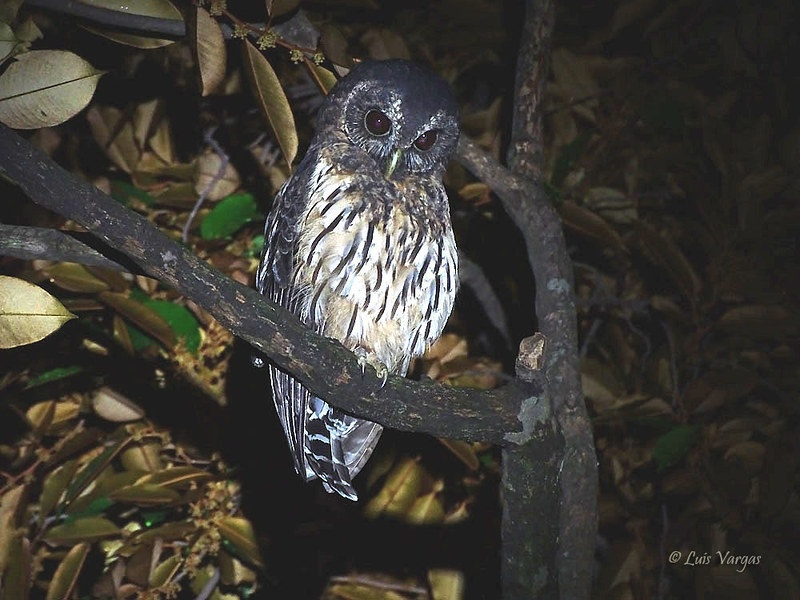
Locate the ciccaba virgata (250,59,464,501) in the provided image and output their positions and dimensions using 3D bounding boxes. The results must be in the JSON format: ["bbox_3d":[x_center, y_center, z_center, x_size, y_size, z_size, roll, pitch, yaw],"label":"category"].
[{"bbox_3d":[-0.103,-0.058,3.029,0.542,1.041,0.656,1,2,-25],"label":"ciccaba virgata"}]
